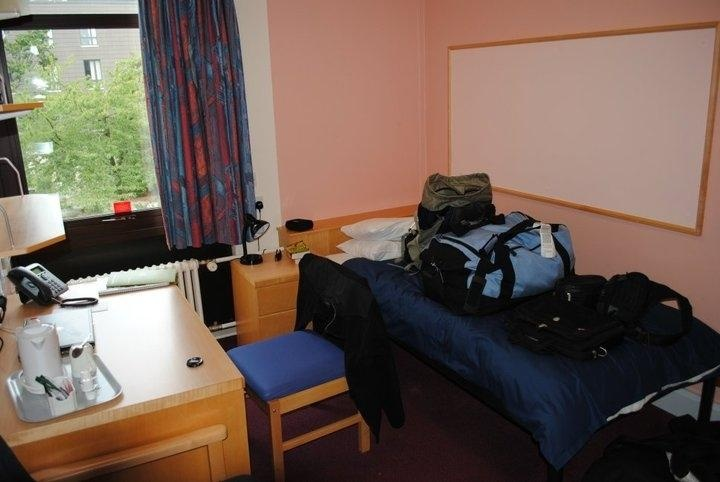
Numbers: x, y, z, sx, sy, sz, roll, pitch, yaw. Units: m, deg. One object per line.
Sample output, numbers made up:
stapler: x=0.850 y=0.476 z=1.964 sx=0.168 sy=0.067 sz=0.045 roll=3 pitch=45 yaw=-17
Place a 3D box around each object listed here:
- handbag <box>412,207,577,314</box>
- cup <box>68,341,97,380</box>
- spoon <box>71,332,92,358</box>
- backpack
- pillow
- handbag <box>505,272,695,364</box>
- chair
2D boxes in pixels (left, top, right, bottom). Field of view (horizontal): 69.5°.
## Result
handbag: x=0.956 y=0.134 z=3.452 sx=0.857 sy=0.341 sz=0.600 roll=-16 pitch=28 yaw=-19
cup: x=-1.279 y=0.567 z=2.396 sx=0.127 sy=0.124 sz=0.105 roll=-5 pitch=-10 yaw=-33
spoon: x=-1.261 y=0.497 z=2.436 sx=0.088 sy=0.123 sz=0.115 roll=-1 pitch=-7 yaw=43
backpack: x=0.763 y=-0.125 z=4.009 sx=0.638 sy=0.733 sz=0.381 roll=-7 pitch=20 yaw=-14
pillow: x=0.135 y=-0.014 z=4.166 sx=0.412 sy=0.127 sz=0.391 roll=-5 pitch=50 yaw=5
handbag: x=1.366 y=0.445 z=3.088 sx=0.726 sy=0.265 sz=0.621 roll=-17 pitch=21 yaw=-12
chair: x=-0.341 y=0.814 z=3.173 sx=0.900 sy=1.353 sz=0.830 roll=-9 pitch=24 yaw=-33
